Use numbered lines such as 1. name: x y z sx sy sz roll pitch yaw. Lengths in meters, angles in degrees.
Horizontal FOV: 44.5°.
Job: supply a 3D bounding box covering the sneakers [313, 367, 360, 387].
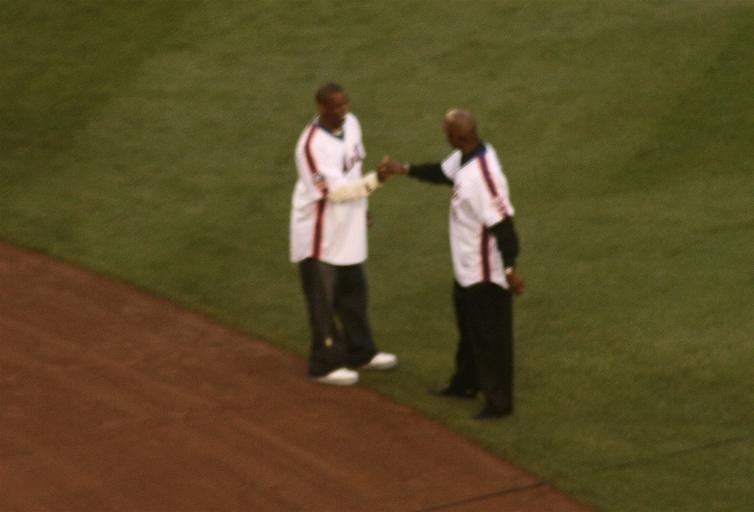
1. sneakers: -0.324 1.012 7.753 0.307 0.088 0.163 1 10 14
